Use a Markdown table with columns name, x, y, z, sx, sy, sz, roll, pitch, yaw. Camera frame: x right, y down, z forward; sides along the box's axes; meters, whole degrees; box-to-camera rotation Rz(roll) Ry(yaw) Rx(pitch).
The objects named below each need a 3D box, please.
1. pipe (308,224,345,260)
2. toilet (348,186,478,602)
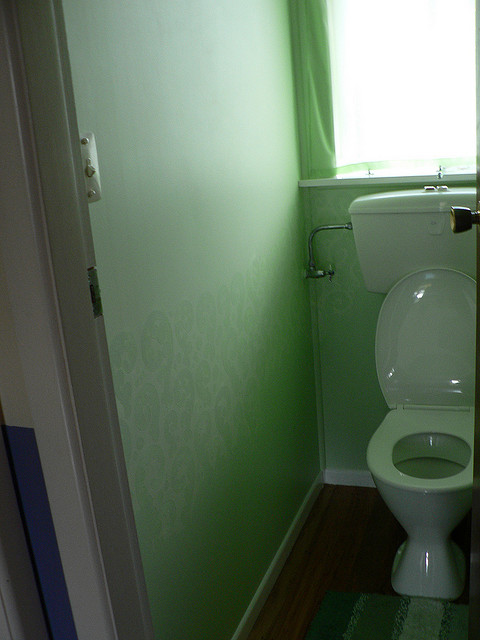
| name | x | y | z | sx | sy | sz | roll | pitch | yaw |
| --- | --- | --- | --- | --- | --- | --- | --- | --- | --- |
| pipe | 0.314 | -0.287 | 1.899 | 0.131 | 0.122 | 0.095 | -2 | 10 | 8 |
| toilet | 0.545 | 0.215 | 1.586 | 0.391 | 1.211 | 0.447 | -1 | 9 | 13 |
